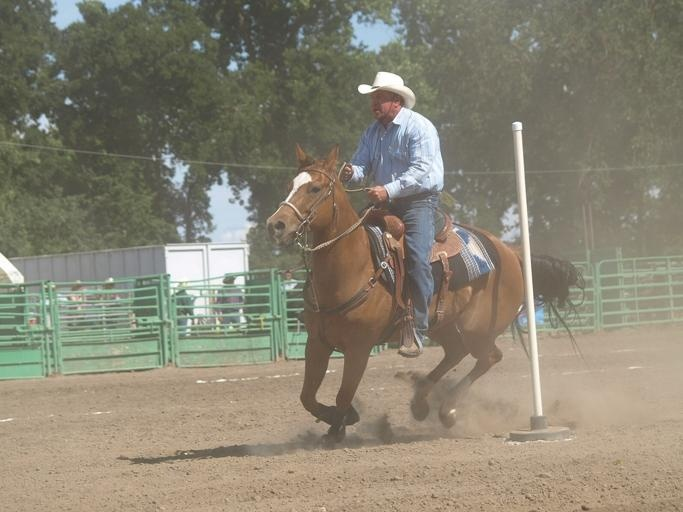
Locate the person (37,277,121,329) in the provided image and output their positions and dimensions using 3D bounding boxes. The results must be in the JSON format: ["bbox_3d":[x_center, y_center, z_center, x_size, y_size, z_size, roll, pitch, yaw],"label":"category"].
[{"bbox_3d":[-6.361,1.291,24.877,1.418,0.987,1.449,-1,3,-16],"label":"person"}]

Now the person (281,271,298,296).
[{"bbox_3d":[-1.394,0.721,25.483,0.485,0.800,0.419,-2,-8,8],"label":"person"}]

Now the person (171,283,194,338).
[{"bbox_3d":[-3.958,1.347,24.680,0.490,1.416,1.047,-4,13,-9],"label":"person"}]
